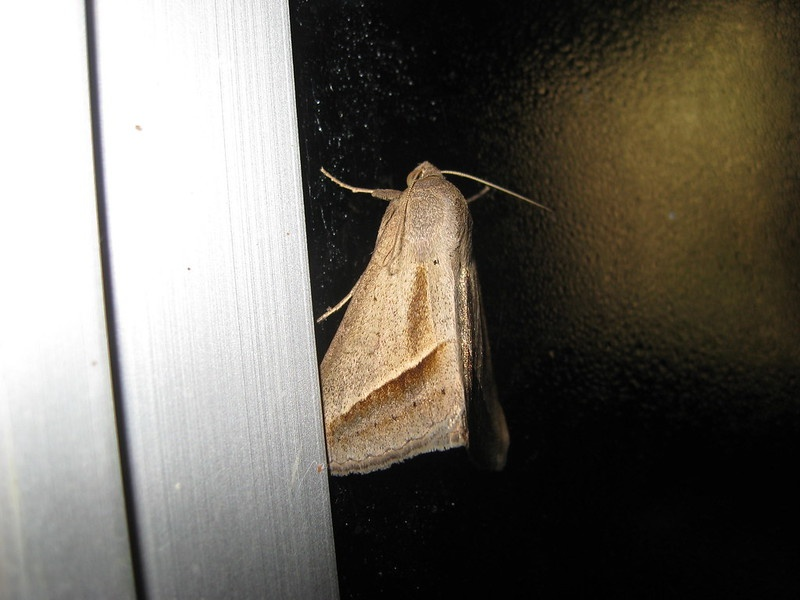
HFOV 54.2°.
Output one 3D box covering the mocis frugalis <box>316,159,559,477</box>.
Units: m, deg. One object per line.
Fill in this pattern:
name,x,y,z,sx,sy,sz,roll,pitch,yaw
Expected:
mocis frugalis,0.021,0.046,1.321,0.333,0.556,0.153,-1,7,-11
